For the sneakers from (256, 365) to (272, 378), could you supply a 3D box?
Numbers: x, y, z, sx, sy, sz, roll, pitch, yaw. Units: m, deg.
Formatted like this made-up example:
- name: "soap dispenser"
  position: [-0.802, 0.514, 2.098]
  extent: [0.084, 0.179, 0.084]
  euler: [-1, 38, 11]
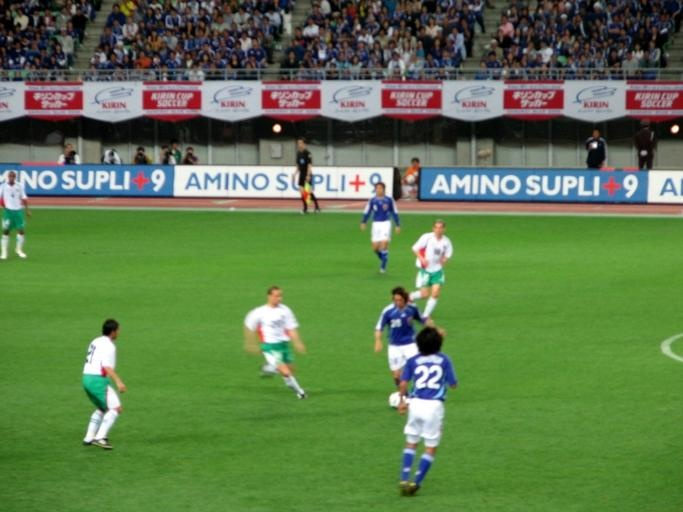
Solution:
- name: "sneakers"
  position: [-1.779, 2.740, 32.400]
  extent: [0.289, 0.137, 0.372]
  euler: [4, 19, -2]

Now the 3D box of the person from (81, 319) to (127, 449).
- name: "person"
  position: [-5.139, 2.780, 29.426]
  extent: [0.734, 2.818, 1.099]
  euler: [-4, 8, -32]

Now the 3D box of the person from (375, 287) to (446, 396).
- name: "person"
  position: [1.452, 1.969, 30.929]
  extent: [1.505, 2.728, 0.981]
  euler: [-5, 19, -5]

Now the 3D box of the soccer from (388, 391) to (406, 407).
- name: "soccer"
  position: [1.234, 3.163, 30.321]
  extent: [0.304, 0.302, 0.392]
  euler: [1, 21, 8]
